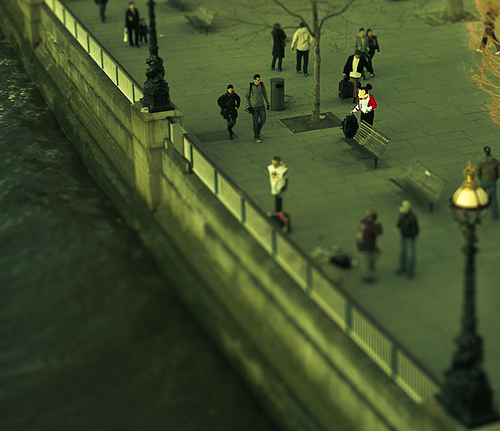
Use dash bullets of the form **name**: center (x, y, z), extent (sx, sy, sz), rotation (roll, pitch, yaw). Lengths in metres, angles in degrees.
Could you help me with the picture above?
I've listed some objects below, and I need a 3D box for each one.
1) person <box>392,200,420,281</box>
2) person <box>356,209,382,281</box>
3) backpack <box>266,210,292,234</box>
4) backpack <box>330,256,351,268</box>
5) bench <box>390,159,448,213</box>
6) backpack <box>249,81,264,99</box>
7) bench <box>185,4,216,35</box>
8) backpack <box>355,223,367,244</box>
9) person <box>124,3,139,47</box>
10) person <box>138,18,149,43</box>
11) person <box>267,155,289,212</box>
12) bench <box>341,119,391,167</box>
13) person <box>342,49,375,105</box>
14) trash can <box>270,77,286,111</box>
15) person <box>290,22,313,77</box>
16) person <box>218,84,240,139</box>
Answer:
- **person**: center (3.328, 0.319, 18.231), extent (0.531, 1.841, 1.067), rotation (9, 29, 12)
- **person**: center (2.447, 0.565, 18.056), extent (0.497, 1.565, 0.416), rotation (2, 27, -1)
- **backpack**: center (0.714, 0.102, 20.176), extent (0.576, 0.316, 0.226), rotation (40, 44, -4)
- **backpack**: center (1.921, 0.885, 18.614), extent (0.281, 0.189, 0.256), rotation (23, 22, 30)
- **bench**: center (4.171, -0.761, 21.423), extent (0.749, 0.726, 1.649), rotation (-9, 35, -21)
- **backpack**: center (0.150, -3.366, 23.603), extent (0.260, 0.424, 0.401), rotation (-5, 15, -17)
- **bench**: center (-1.928, -7.454, 33.679), extent (0.394, 0.560, 1.525), rotation (-12, 44, -14)
- **backpack**: center (2.282, 0.359, 17.926), extent (0.208, 0.375, 0.332), rotation (-1, -15, 10)
- **person**: center (-4.272, -6.849, 31.681), extent (0.461, 1.489, 1.011), rotation (-2, 29, -8)
- **person**: center (-3.921, -6.687, 31.963), extent (0.357, 0.935, 0.826), rotation (-1, 30, -7)
- **person**: center (0.609, -0.735, 20.070), extent (0.409, 1.485, 0.393), rotation (3, 27, 2)
- **bench**: center (3.133, -1.997, 23.330), extent (0.666, 0.663, 1.590), rotation (-8, 35, -20)
- **person**: center (3.373, -4.358, 27.039), extent (0.895, 1.846, 0.424), rotation (0, 44, 12)
- **trash can**: center (0.843, -3.710, 26.396), extent (0.487, 1.017, 0.542), rotation (2, 28, -1)
- **person**: center (1.689, -5.483, 28.577), extent (0.672, 1.975, 1.264), rotation (4, 29, 3)
- **person**: center (-0.581, -2.875, 24.034), extent (0.504, 1.495, 0.457), rotation (-1, 28, 2)
